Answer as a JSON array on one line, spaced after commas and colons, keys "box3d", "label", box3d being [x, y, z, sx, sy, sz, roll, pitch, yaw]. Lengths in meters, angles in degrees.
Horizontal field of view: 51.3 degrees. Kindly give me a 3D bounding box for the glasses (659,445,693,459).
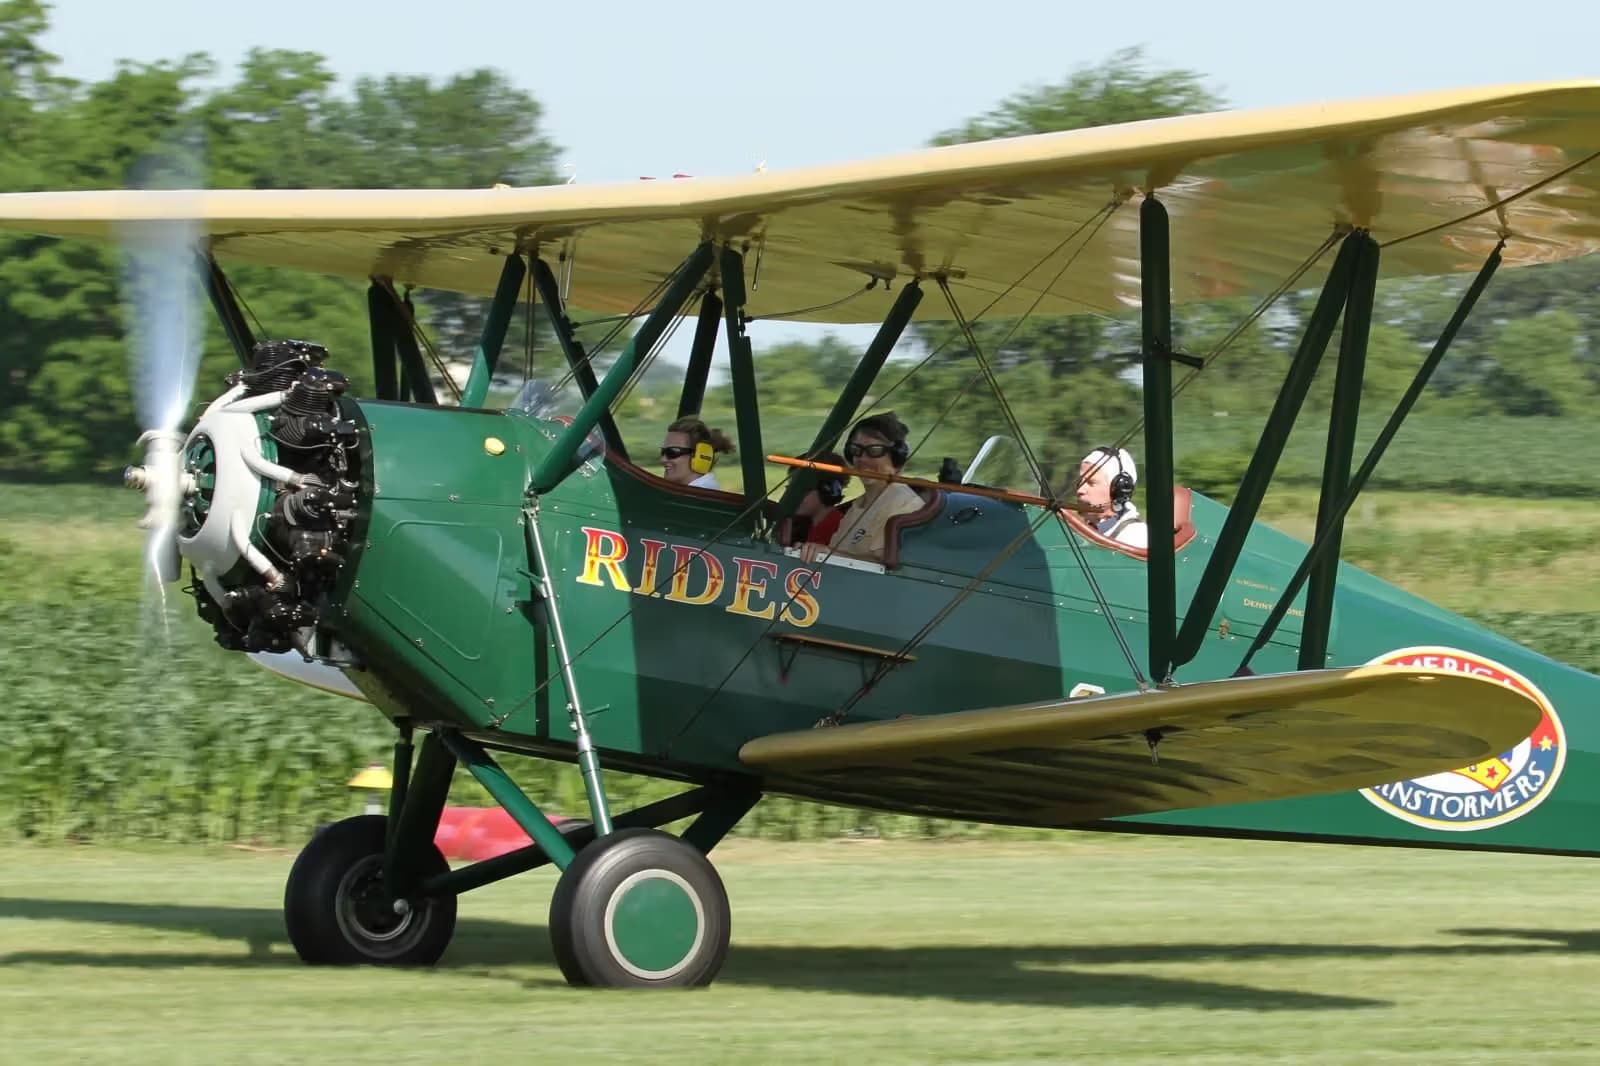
[{"box3d": [-0.628, -0.416, 8.551, 0.121, 0.022, 0.111, 15, -16, -35], "label": "glasses"}]
